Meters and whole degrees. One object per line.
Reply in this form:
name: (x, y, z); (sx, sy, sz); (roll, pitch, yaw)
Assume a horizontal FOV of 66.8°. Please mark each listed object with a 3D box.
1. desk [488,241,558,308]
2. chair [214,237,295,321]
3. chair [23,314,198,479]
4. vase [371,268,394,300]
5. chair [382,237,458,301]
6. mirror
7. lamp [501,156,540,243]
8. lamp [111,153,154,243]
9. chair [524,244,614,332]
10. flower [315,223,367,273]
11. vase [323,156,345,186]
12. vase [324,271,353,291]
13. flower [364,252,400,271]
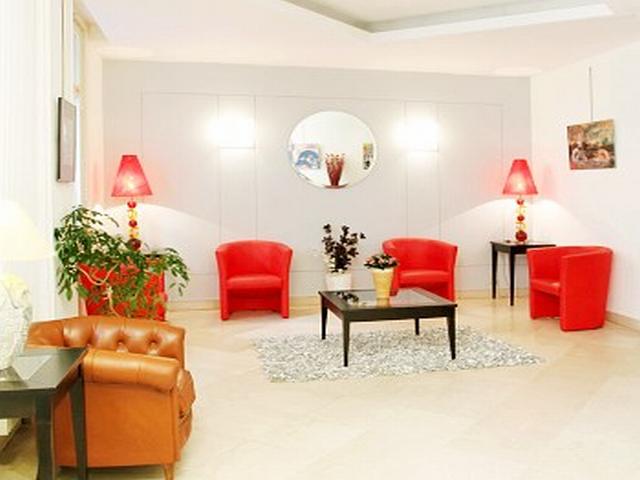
desk: (2.790, 0.413, 6.876); (0.823, 0.931, 0.922); (-1, 2, -4)
chair: (-0.857, 0.508, 6.222); (0.923, 0.921, 0.796); (-1, 5, -10)
chair: (-1.175, 0.853, 2.946); (0.933, 0.837, 0.911); (0, 6, -13)
vase: (0.628, 0.436, 4.796); (0.262, 0.290, 0.266); (-3, -3, 33)
chair: (1.289, 0.400, 6.531); (0.882, 0.829, 0.811); (-1, 2, -12)
mirror: (0.104, -1.257, 6.720); (1.200, 1.012, 0.161); (0, -1, -12)
lamp: (2.898, -0.581, 7.003); (0.473, 1.236, 0.659); (1, 6, 22)
lamp: (-2.357, -0.507, 6.078); (0.477, 1.173, 0.603); (-3, 6, -22)
chair: (3.040, 0.531, 5.858); (0.806, 0.911, 0.921); (-3, 3, -10)
flower: (0.319, 0.115, 6.630); (0.616, 0.658, 0.478); (-1, 5, 1)
vase: (0.217, -0.989, 6.827); (0.297, 0.436, 0.274); (0, 4, -21)
vase: (0.251, 0.548, 6.425); (0.257, 0.187, 0.256); (1, -5, -12)
flower: (0.627, 0.218, 4.932); (0.285, 0.162, 0.300); (0, 5, 13)
